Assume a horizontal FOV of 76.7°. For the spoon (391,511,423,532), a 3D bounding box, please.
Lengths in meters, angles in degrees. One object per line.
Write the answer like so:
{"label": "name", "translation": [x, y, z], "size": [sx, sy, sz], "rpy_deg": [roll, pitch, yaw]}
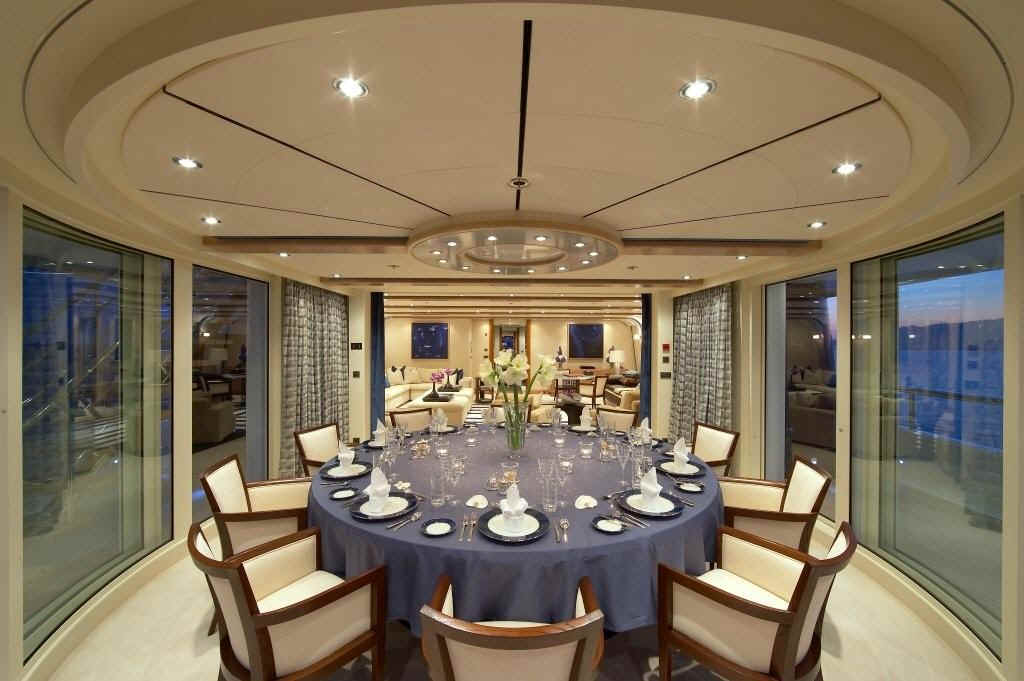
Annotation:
{"label": "spoon", "translation": [-0.692, 1.187, 4.268], "size": [0.066, 0.033, 0.227], "rpy_deg": [1, 7, 19]}

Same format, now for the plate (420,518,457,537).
{"label": "plate", "translation": [-0.471, 1.203, 4.178], "size": [0.220, 0.072, 0.184], "rpy_deg": [-1, 0, 1]}

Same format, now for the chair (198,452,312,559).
{"label": "chair", "translation": [-1.839, 1.360, 4.908], "size": [0.774, 0.941, 0.726], "rpy_deg": [-3, 9, -16]}

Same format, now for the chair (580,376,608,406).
{"label": "chair", "translation": [1.750, 1.030, 13.393], "size": [0.541, 0.770, 0.541], "rpy_deg": [0, 2, -32]}

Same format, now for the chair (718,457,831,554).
{"label": "chair", "translation": [1.906, 1.242, 4.902], "size": [0.774, 0.953, 0.716], "rpy_deg": [3, -1, 19]}

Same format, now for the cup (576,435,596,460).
{"label": "cup", "translation": [0.661, 0.929, 5.752], "size": [0.122, 0.114, 0.124], "rpy_deg": [-1, 1, 0]}

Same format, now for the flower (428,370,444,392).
{"label": "flower", "translation": [-1.343, 0.728, 11.431], "size": [0.276, 0.290, 0.328], "rpy_deg": [-19, 0, 5]}

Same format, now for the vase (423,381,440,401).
{"label": "vase", "translation": [-1.277, 0.837, 10.472], "size": [0.247, 0.290, 0.246], "rpy_deg": [3, -4, -32]}

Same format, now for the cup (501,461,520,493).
{"label": "cup", "translation": [-0.011, 1.006, 4.950], "size": [0.126, 0.147, 0.135], "rpy_deg": [1, -5, 0]}

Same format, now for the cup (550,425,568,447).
{"label": "cup", "translation": [0.441, 0.887, 5.983], "size": [0.141, 0.134, 0.146], "rpy_deg": [0, -5, 0]}

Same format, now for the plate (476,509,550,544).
{"label": "plate", "translation": [0.012, 1.199, 4.192], "size": [0.461, 0.133, 0.363], "rpy_deg": [-1, 0, 1]}

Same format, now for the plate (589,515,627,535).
{"label": "plate", "translation": [0.632, 1.194, 4.198], "size": [0.220, 0.072, 0.200], "rpy_deg": [-1, 0, 7]}
